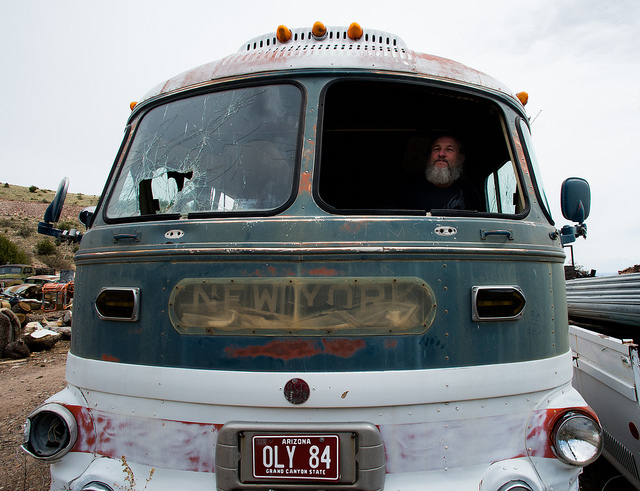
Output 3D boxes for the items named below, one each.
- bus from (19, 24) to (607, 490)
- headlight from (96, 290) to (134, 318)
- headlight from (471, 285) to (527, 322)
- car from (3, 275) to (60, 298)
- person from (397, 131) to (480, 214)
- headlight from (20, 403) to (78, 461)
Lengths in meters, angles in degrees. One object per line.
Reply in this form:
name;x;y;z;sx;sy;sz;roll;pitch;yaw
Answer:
bus;0.167;0.306;5.475;2.612;2.744;4.834;0;-10;6
headlight;-1.394;0.399;3.222;0.300;0.183;0.059;-2;-6;27
headlight;1.180;0.385;3.125;0.393;0.238;0.064;3;-6;-15
car;-10.428;1.469;17.274;1.093;0.942;1.892;-3;-5;11
person;1.069;-0.555;4.055;0.659;0.793;0.409;4;-20;18
headlight;-1.797;1.283;3.191;0.278;0.306;0.389;-2;39;-15
